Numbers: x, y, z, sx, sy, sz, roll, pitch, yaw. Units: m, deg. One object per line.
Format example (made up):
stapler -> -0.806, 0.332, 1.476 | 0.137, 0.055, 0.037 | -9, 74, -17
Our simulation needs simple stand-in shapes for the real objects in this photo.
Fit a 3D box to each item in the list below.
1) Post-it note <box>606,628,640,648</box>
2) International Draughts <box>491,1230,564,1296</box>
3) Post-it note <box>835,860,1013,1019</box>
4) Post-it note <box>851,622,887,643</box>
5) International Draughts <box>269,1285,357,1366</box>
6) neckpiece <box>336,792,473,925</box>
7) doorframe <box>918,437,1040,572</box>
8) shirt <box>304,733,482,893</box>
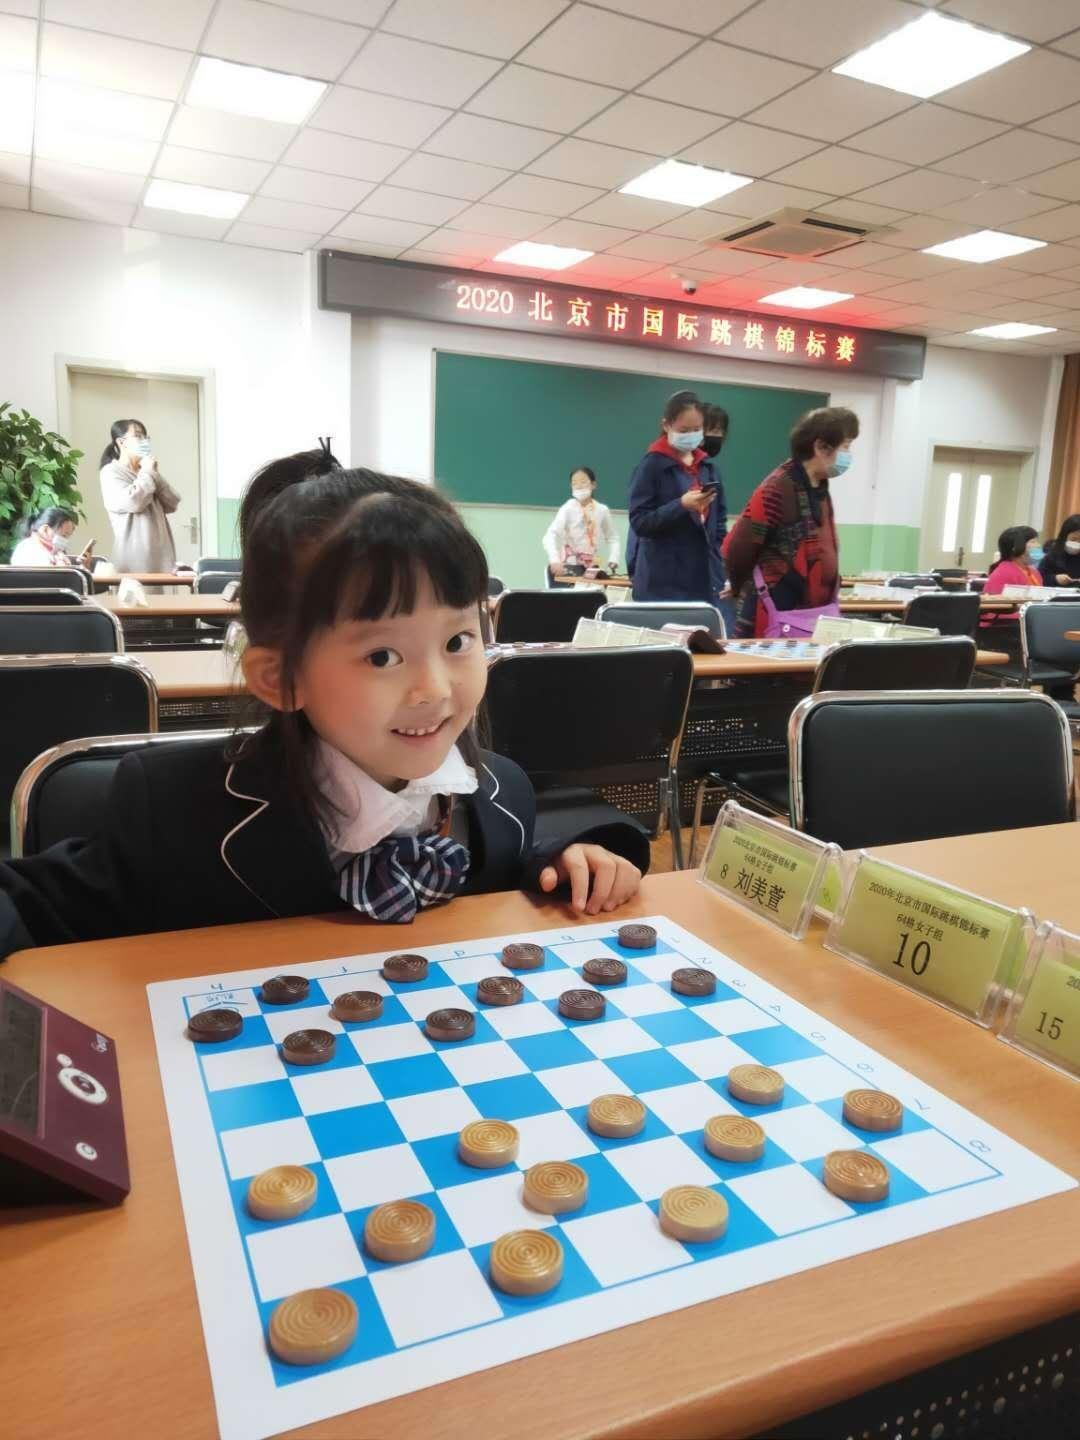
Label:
Post-it note -> 0.203, -0.201, 2.530 | 0.087, 0.022, 0.082 | 4, 24, 8
International Draughts -> -0.007, 0.228, 0.424 | 0.030, 0.012, 0.029 | -3, 12, -27
Post-it note -> 0.272, 0.164, 0.738 | 0.030, 0.048, 0.087 | 12, 6, -30
Post-it note -> 0.872, -0.232, 2.712 | 0.086, 0.023, 0.088 | -17, 31, 3
International Draughts -> -0.087, 0.231, 0.385 | 0.032, 0.011, 0.028 | -7, 13, -40
neckpiece -> -0.121, 0.120, 0.860 | 0.100, 0.056, 0.127 | -5, 5, -5
doorframe -> 4.072, -2.025, 9.667 | 1.245, 1.110, 0.300 | 1, 7, -25
shirt -> -0.124, 0.054, 0.941 | 0.100, 0.154, 0.172 | 12, 22, 41
